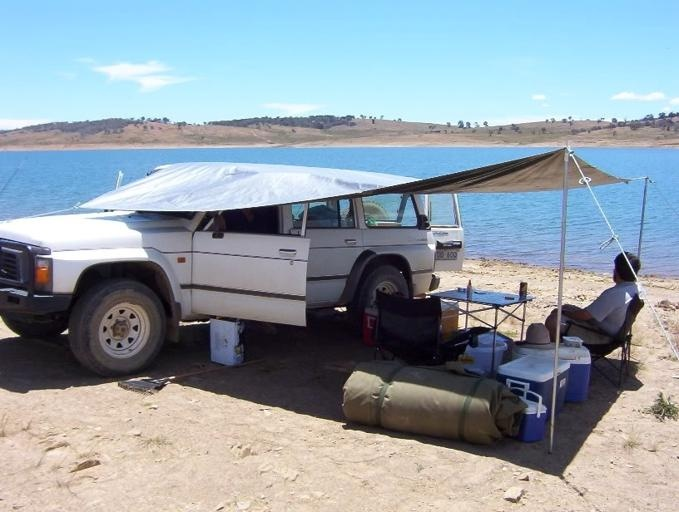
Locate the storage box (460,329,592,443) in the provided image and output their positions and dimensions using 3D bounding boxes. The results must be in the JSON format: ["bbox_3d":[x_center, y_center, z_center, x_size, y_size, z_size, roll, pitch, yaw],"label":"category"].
[{"bbox_3d":[2.333,1.425,6.164,1.234,0.589,1.562,0,0,-39],"label":"storage box"}]

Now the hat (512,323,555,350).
[{"bbox_3d":[2.360,0.984,6.627,0.497,0.132,0.325,-3,6,-35],"label":"hat"}]

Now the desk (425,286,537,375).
[{"bbox_3d":[1.846,1.035,7.703,1.195,0.808,1.274,7,2,20],"label":"desk"}]

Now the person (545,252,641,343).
[{"bbox_3d":[3.348,0.535,7.140,0.962,1.265,0.997,11,13,28],"label":"person"}]
